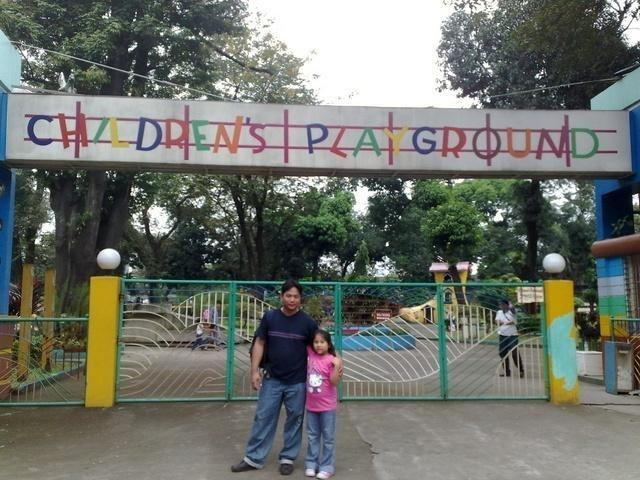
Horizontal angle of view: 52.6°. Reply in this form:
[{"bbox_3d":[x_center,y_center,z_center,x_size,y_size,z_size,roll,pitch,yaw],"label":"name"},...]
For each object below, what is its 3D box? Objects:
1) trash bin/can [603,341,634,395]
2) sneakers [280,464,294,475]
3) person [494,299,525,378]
[{"bbox_3d":[6.596,2.819,14.277,0.556,1.137,0.363,0,-1,30],"label":"trash bin/can"},{"bbox_3d":[-0.492,3.427,9.732,0.220,0.146,0.266,1,-2,-5],"label":"sneakers"},{"bbox_3d":[4.048,2.064,13.543,0.555,1.616,0.516,1,-1,-34],"label":"person"}]
